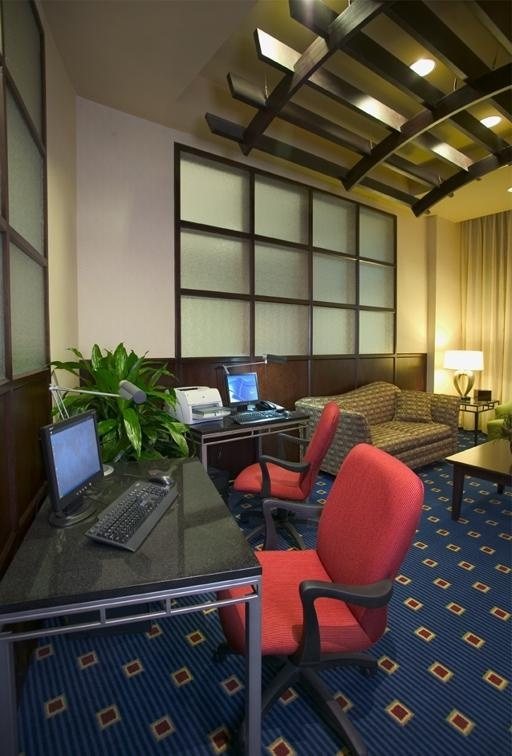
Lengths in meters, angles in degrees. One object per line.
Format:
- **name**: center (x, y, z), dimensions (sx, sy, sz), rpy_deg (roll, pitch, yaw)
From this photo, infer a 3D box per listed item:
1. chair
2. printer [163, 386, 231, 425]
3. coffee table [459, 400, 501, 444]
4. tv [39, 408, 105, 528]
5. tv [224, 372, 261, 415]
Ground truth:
- **chair**: center (0.329, 0.685, 2.011), dimensions (0.836, 1.175, 0.987), rpy_deg (3, 8, -12)
- **printer**: center (-0.372, 0.176, 3.331), dimensions (0.227, 0.200, 0.310), rpy_deg (-4, 5, -42)
- **coffee table**: center (2.655, 0.516, 5.779), dimensions (0.462, 0.463, 0.348), rpy_deg (-5, 8, -34)
- **tv**: center (-0.671, 0.347, 1.787), dimensions (0.134, 0.405, 0.377), rpy_deg (-4, 8, 4)
- **tv**: center (-0.106, 0.130, 3.706), dimensions (0.090, 0.290, 0.275), rpy_deg (-12, -12, 40)
